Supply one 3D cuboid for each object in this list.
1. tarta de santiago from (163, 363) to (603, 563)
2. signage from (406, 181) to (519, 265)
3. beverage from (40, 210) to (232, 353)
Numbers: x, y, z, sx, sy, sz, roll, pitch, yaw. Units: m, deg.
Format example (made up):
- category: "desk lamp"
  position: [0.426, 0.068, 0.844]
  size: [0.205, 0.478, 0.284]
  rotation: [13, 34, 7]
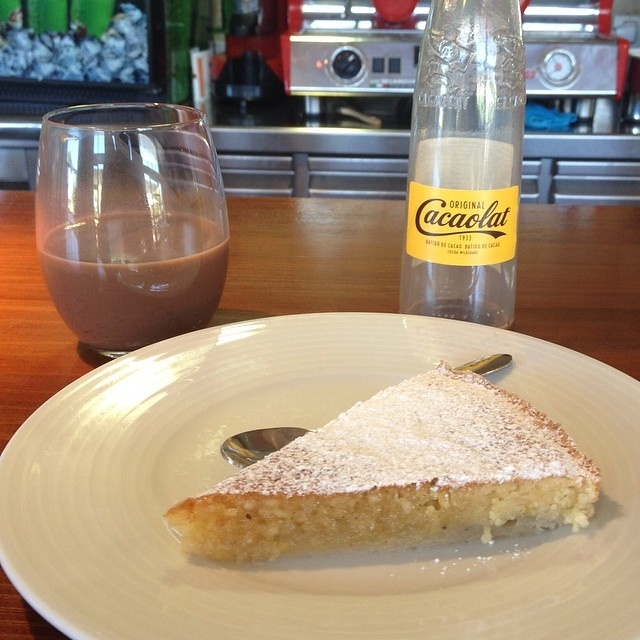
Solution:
- category: "tarta de santiago"
  position: [0.043, 0.097, 0.470]
  size: [0.197, 0.037, 0.126]
  rotation: [-11, 24, -19]
- category: "signage"
  position: [0.123, -0.084, 0.631]
  size: [0.111, 0.051, 0.087]
  rotation: [1, 17, 0]
- category: "beverage"
  position: [-0.164, -0.043, 0.670]
  size: [0.169, 0.081, 0.130]
  rotation: [-1, 19, 3]
